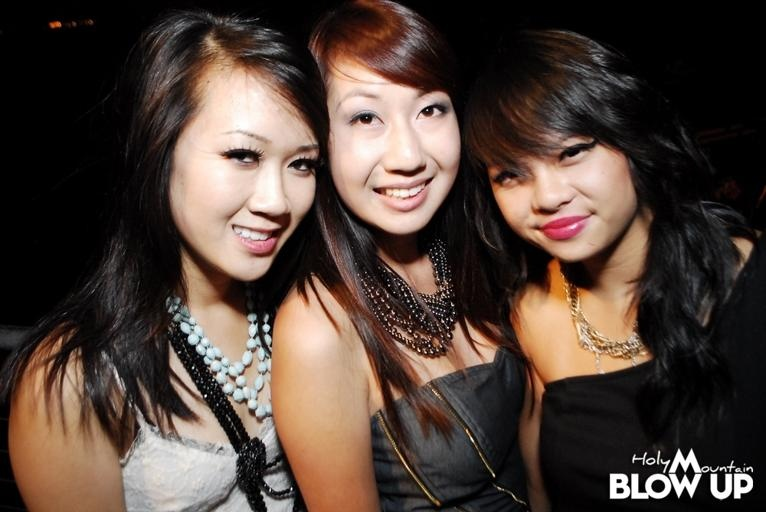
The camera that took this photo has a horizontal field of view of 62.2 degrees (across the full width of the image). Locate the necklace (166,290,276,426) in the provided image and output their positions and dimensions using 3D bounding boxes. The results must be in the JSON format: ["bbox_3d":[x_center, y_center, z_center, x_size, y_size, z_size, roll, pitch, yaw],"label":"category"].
[{"bbox_3d":[-0.758,0.489,2.899,0.114,0.596,0.357,-32,-1,38],"label":"necklace"}]

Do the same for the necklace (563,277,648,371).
[{"bbox_3d":[1.087,0.298,3.144,0.495,0.523,0.115,36,-44,-9],"label":"necklace"}]

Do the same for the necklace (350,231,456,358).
[{"bbox_3d":[0.140,0.198,2.923,0.378,0.475,0.092,7,-32,-34],"label":"necklace"}]
